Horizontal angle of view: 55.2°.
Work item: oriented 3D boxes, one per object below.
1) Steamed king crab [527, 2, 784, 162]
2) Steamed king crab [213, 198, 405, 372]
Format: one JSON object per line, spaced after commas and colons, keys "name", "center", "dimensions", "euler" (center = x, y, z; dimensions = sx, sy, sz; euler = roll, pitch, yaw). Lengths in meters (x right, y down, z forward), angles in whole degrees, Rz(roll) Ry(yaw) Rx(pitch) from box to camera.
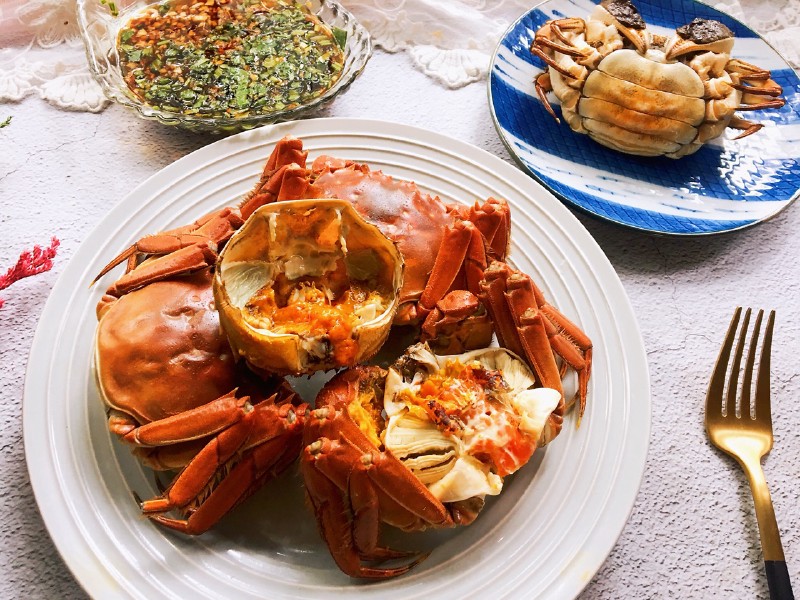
{"name": "Steamed king crab", "center": [0.945, -0.878, 2.952], "dimensions": [0.770, 0.221, 0.712], "euler": [-29, 77, -9]}
{"name": "Steamed king crab", "center": [-0.249, -0.043, 2.170], "dimensions": [0.535, 0.233, 0.455], "euler": [-8, 75, -4]}
